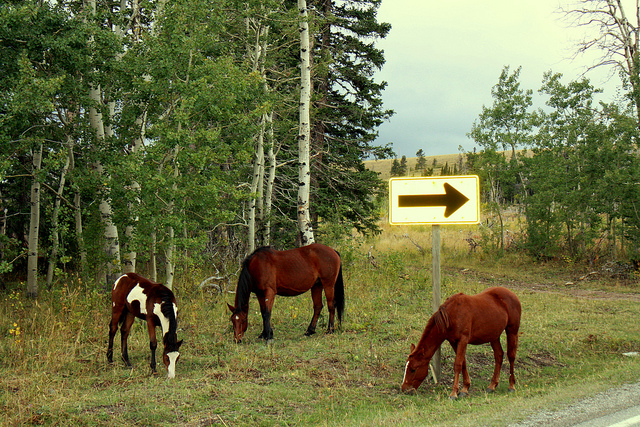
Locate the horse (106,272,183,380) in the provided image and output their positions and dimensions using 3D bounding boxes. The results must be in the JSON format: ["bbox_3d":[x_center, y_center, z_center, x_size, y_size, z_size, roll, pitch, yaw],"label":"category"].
[{"bbox_3d":[-6.306,4.112,29.389,1.206,3.719,4.508,4,6,-42],"label":"horse"}]
